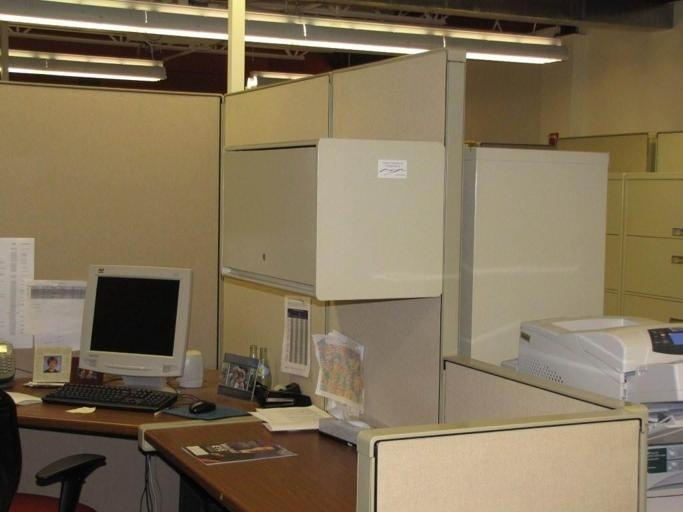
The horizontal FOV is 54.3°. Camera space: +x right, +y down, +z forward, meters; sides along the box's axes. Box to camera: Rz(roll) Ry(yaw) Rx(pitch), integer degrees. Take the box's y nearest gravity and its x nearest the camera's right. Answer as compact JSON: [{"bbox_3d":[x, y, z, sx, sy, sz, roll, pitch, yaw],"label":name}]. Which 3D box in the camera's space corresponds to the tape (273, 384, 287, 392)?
[{"bbox_3d":[-0.276,0.601,3.049,0.031,0.028,0.036,2,2,8],"label":"tape"}]

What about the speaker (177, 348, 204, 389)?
[{"bbox_3d":[-0.706,0.545,3.202,0.147,0.180,0.175,1,1,-12],"label":"speaker"}]

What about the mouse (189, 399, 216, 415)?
[{"bbox_3d":[-0.586,0.632,2.814,0.087,0.030,0.051,-4,10,-43],"label":"mouse"}]

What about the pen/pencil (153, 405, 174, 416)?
[{"bbox_3d":[-0.746,0.651,2.816,0.008,0.018,0.105,-27,-7,21],"label":"pen/pencil"}]
